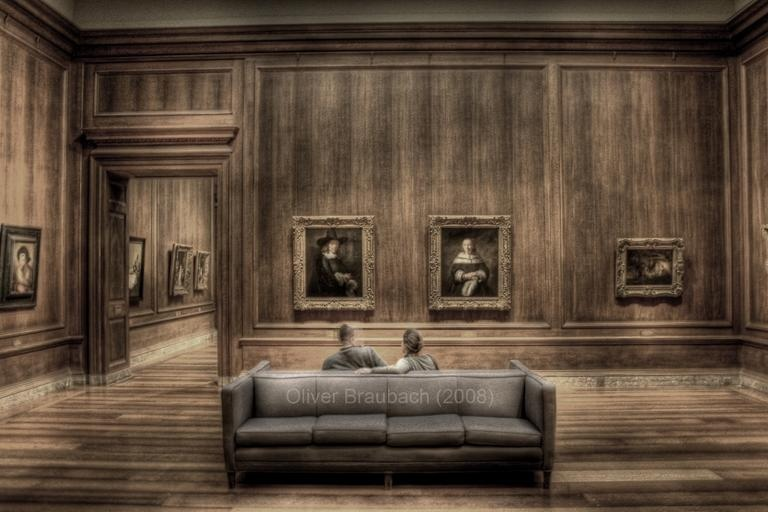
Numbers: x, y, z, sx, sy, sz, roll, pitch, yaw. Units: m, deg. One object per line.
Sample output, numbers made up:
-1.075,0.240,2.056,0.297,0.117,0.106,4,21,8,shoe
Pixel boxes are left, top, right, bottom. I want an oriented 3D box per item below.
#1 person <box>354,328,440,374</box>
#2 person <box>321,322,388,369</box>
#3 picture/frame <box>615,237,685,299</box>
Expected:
0.505,1.704,12.045,0.707,0.872,2.182,1,-6,42,person
-0.609,1.590,11.993,1.191,0.885,0.562,-10,-9,-7,person
5.500,0.249,14.830,1.264,1.065,0.162,0,-1,0,picture/frame
